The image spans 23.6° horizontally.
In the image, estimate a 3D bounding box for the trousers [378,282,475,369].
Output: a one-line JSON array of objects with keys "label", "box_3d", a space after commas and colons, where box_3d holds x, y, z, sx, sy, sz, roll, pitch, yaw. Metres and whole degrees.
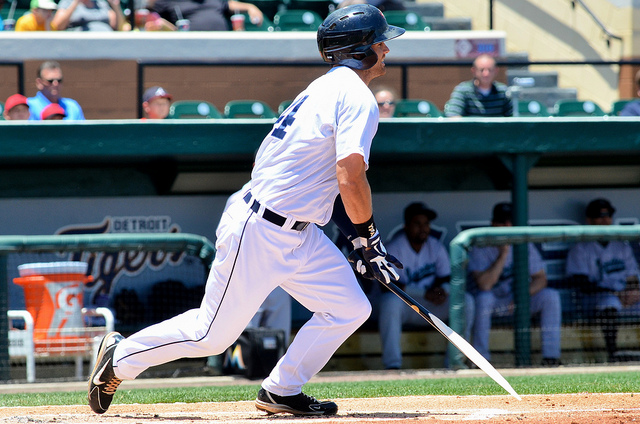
[{"label": "trousers", "box_3d": [1.030, 1.173, 15.204, 0.831, 1.039, 0.883, 1, -19, 0]}]

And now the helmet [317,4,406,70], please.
[{"label": "helmet", "box_3d": [0.345, -1.510, 12.868, 0.693, 0.410, 0.481, -4, 17, -3]}]

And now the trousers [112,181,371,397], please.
[{"label": "trousers", "box_3d": [-0.577, 0.659, 12.874, 1.922, 1.823, 0.506, -2, -5, 10]}]

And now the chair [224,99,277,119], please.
[{"label": "chair", "box_3d": [-0.710, -1.061, 15.482, 0.518, 0.180, 0.109, -1, -5, -5]}]

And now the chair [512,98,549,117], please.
[{"label": "chair", "box_3d": [2.261, -1.198, 16.516, 0.437, 0.142, 0.271, 4, 35, -13]}]
